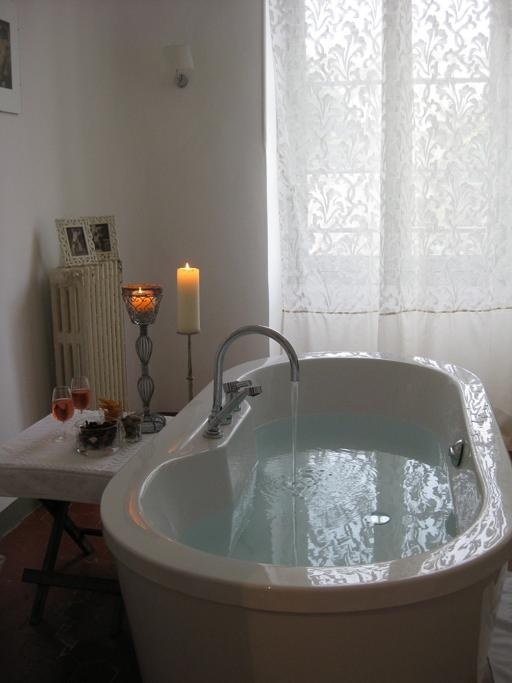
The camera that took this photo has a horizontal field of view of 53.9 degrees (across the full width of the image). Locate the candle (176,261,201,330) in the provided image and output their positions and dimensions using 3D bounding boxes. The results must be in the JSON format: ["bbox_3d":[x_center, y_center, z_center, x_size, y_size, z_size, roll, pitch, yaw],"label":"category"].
[{"bbox_3d":[-0.216,-0.115,1.613,0.074,0.228,0.077,1,-21,-11],"label":"candle"}]

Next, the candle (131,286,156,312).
[{"bbox_3d":[-0.321,-0.123,1.456,0.063,0.060,0.060,-2,16,-7],"label":"candle"}]

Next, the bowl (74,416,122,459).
[{"bbox_3d":[-0.348,0.211,1.144,0.075,0.055,0.075,1,7,0],"label":"bowl"}]

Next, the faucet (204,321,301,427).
[{"bbox_3d":[-0.039,0.101,1.320,0.165,0.316,0.262,-13,21,-42],"label":"faucet"}]

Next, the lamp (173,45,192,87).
[{"bbox_3d":[-0.345,-1.304,2.402,0.090,0.124,0.177,0,4,-8],"label":"lamp"}]

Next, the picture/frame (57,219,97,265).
[{"bbox_3d":[-0.739,-0.404,2.062,0.017,0.184,0.171,-6,12,22],"label":"picture/frame"}]
